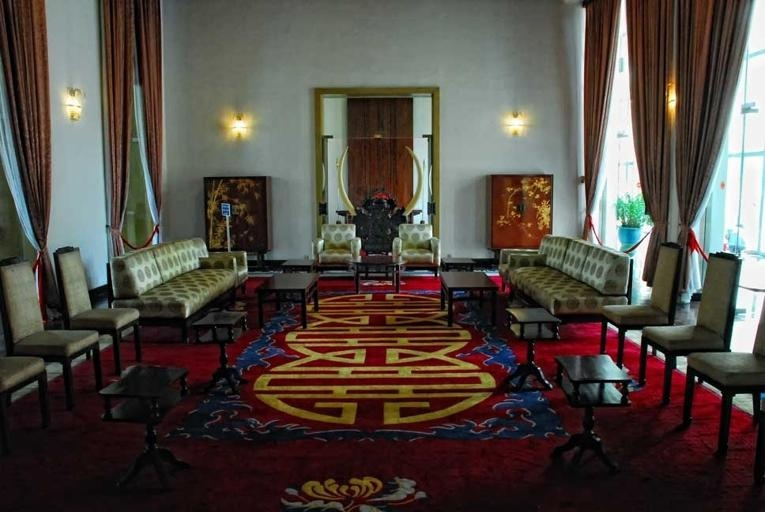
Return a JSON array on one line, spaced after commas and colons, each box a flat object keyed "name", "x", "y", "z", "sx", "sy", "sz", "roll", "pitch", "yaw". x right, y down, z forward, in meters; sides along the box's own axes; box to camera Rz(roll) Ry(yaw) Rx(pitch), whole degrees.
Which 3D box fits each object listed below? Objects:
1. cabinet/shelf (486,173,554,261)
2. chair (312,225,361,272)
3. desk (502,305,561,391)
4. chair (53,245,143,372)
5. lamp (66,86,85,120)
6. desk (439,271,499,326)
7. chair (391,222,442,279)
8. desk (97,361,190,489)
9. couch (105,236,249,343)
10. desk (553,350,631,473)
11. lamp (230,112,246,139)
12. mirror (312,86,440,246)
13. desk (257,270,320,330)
[{"name": "cabinet/shelf", "x": 2.592, "y": -0.737, "z": 10.241, "sx": 1.725, "sy": 1.934, "sz": 0.778, "roll": 0, "pitch": 2, "yaw": -1}, {"name": "chair", "x": -0.830, "y": -0.166, "z": 10.116, "sx": 0.862, "sy": 0.814, "sz": 0.851, "roll": -1, "pitch": 5, "yaw": -6}, {"name": "desk", "x": 1.530, "y": 1.011, "z": 5.685, "sx": 0.420, "sy": 0.659, "sz": 0.718, "roll": 4, "pitch": -5, "yaw": 2}, {"name": "chair", "x": -3.146, "y": 0.580, "z": 6.074, "sx": 0.771, "sy": 1.273, "sz": 0.664, "roll": 4, "pitch": 4, "yaw": -2}, {"name": "lamp", "x": -4.599, "y": -2.281, "z": 8.236, "sx": 0.151, "sy": 0.476, "sz": 0.426, "roll": -2, "pitch": 13, "yaw": -3}, {"name": "desk", "x": 1.195, "y": 0.444, "z": 7.537, "sx": 0.621, "sy": 0.531, "sz": 1.112, "roll": -1, "pitch": 10, "yaw": -1}, {"name": "chair", "x": 0.635, "y": -0.129, "z": 9.798, "sx": 0.866, "sy": 0.934, "sz": 0.948, "roll": 0, "pitch": 1, "yaw": 5}, {"name": "desk", "x": -1.877, "y": 1.440, "z": 4.444, "sx": 0.510, "sy": 0.703, "sz": 0.766, "roll": -5, "pitch": -3, "yaw": 3}, {"name": "couch", "x": -2.753, "y": 0.323, "z": 7.934, "sx": 0.992, "sy": 0.985, "sz": 2.770, "roll": 1, "pitch": 8, "yaw": 4}, {"name": "desk", "x": 1.730, "y": 1.384, "z": 4.574, "sx": 0.496, "sy": 0.670, "sz": 0.701, "roll": 5, "pitch": -9, "yaw": 1}, {"name": "lamp", "x": -2.834, "y": -2.548, "z": 10.762, "sx": 0.311, "sy": 0.435, "sz": 0.098, "roll": 1, "pitch": 5, "yaw": -6}, {"name": "mirror", "x": -0.120, "y": -1.864, "z": 10.880, "sx": 3.230, "sy": 4.485, "sz": 0.221, "roll": 0, "pitch": 5, "yaw": -1}, {"name": "desk", "x": -1.305, "y": 0.676, "z": 7.721, "sx": 0.654, "sy": 0.521, "sz": 1.165, "roll": 0, "pitch": 2, "yaw": 2}]
